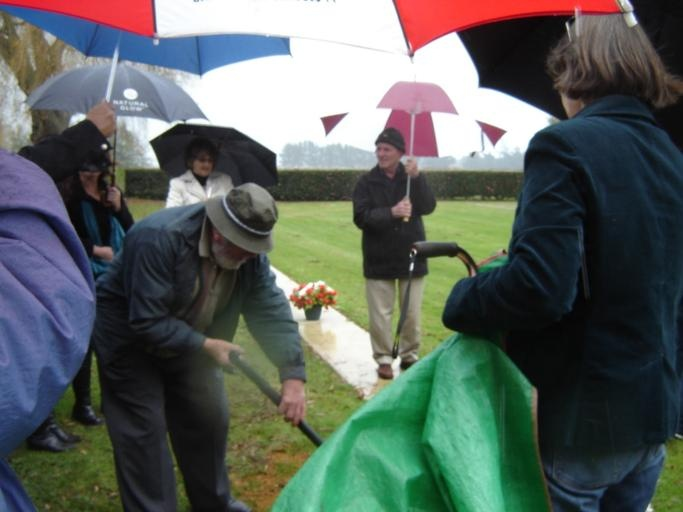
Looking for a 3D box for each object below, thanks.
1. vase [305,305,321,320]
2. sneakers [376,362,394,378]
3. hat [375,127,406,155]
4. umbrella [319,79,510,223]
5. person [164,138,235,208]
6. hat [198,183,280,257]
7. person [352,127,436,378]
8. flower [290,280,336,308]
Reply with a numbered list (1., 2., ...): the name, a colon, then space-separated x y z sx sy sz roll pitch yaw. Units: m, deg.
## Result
1. vase: -0.336 0.697 6.939 0.172 0.146 0.181 -2 5 11
2. sneakers: 0.399 1.055 5.318 0.148 0.129 0.246 3 8 5
3. hat: 0.483 -1.097 5.611 0.181 0.185 0.259 12 18 4
4. umbrella: 0.654 -1.073 5.649 1.563 1.144 1.557 -9 17 -32
5. person: -1.341 -0.669 5.549 0.634 0.864 0.378 4 -6 -33
6. hat: -0.510 -0.179 2.957 0.353 0.365 0.294 0 8 -12
7. person: 0.480 -0.061 5.515 0.738 2.276 0.864 1 8 -3
8. flower: -0.319 0.476 7.013 0.360 0.277 0.383 -1 -5 -3
